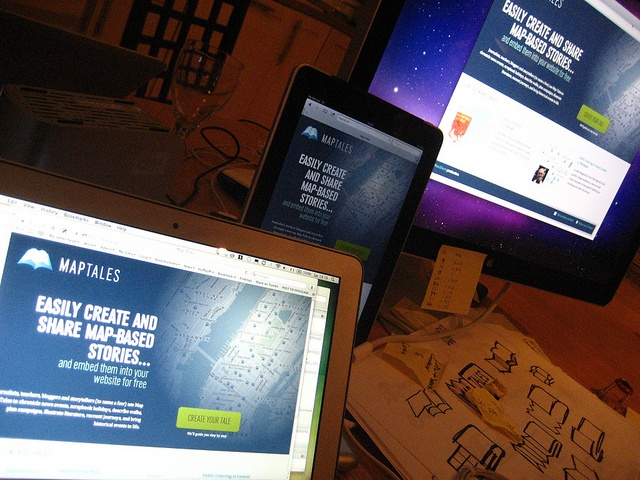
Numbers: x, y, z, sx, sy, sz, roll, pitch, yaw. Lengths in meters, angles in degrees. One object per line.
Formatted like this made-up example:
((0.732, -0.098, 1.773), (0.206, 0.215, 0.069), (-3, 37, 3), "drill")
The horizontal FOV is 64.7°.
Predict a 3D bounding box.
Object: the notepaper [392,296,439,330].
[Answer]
((0.193, 0.155, 1.057), (0.054, 0.018, 0.074), (-19, 53, -44), "notepaper")

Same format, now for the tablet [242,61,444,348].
((0.033, -0.111, 0.951), (0.435, 0.357, 0.383), (1, 26, -21), "tablet")
